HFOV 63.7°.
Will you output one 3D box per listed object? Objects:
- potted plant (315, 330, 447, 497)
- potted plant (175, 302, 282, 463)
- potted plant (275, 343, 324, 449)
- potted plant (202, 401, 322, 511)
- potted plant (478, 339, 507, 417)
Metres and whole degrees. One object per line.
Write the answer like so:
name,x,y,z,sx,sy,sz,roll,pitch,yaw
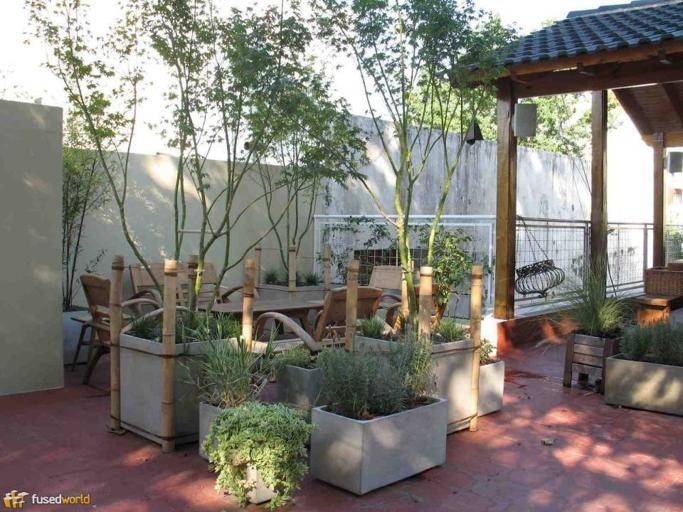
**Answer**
potted plant,0.308,1.132,4.116,0.867,1.080,0.517,-3,4,-42
potted plant,-0.935,0.900,4.597,0.721,1.269,0.920,-3,6,-32
potted plant,-0.352,1.133,4.588,0.354,0.642,0.395,-2,5,-16
potted plant,-0.541,1.208,3.669,0.603,0.721,0.578,-2,4,-43
potted plant,1.419,1.167,5.307,0.229,0.494,0.279,-6,-12,26
